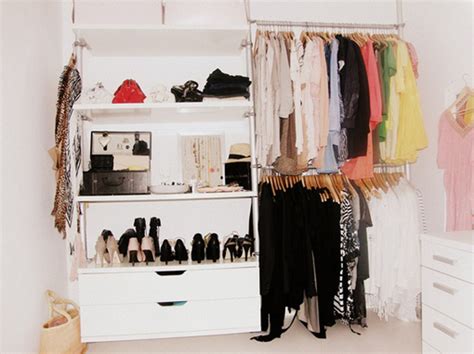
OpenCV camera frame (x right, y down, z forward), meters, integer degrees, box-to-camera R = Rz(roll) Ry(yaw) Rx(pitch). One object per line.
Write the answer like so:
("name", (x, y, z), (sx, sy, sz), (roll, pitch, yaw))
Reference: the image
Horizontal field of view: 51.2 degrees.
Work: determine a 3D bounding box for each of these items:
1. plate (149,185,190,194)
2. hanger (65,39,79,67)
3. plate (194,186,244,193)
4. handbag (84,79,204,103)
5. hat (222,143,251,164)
("plate", (-0.572, 0.102, 4.145), (0.321, 0.075, 0.156), (-3, 0, -9))
("hanger", (-1.393, -1.042, 4.210), (0.106, 0.216, 0.200), (-2, 0, -30))
("plate", (-0.141, 0.102, 4.165), (0.404, 0.053, 0.165), (-3, 0, -7))
("handbag", (-0.775, -0.722, 4.149), (0.980, 0.205, 0.197), (-3, 0, -7))
("hat", (0.015, -0.202, 4.349), (0.173, 0.107, 0.158), (-8, -1, 31))
